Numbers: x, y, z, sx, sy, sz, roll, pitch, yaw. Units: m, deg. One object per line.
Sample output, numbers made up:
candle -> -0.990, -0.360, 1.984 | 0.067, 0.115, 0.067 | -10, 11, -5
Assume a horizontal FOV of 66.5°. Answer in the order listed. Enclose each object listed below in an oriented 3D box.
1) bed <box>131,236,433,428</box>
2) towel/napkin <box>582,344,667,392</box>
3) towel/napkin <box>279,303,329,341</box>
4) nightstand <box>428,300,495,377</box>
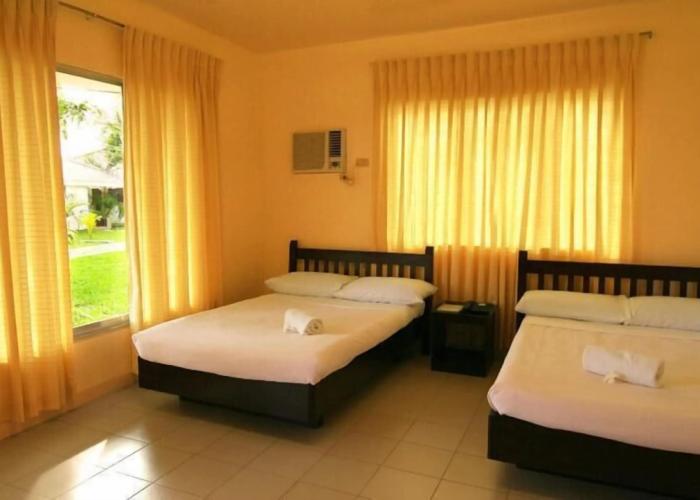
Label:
bed -> -0.361, 0.639, 5.032 | 2.003, 1.234, 2.322 | 1, 8, 23
towel/napkin -> 1.798, 0.776, 3.585 | 0.372, 0.131, 0.226 | 9, 9, 37
towel/napkin -> -0.398, 0.590, 4.416 | 0.296, 0.142, 0.181 | 9, 7, 34
nightstand -> 1.114, 0.822, 5.370 | 0.765, 0.758, 0.653 | 2, 7, 27
